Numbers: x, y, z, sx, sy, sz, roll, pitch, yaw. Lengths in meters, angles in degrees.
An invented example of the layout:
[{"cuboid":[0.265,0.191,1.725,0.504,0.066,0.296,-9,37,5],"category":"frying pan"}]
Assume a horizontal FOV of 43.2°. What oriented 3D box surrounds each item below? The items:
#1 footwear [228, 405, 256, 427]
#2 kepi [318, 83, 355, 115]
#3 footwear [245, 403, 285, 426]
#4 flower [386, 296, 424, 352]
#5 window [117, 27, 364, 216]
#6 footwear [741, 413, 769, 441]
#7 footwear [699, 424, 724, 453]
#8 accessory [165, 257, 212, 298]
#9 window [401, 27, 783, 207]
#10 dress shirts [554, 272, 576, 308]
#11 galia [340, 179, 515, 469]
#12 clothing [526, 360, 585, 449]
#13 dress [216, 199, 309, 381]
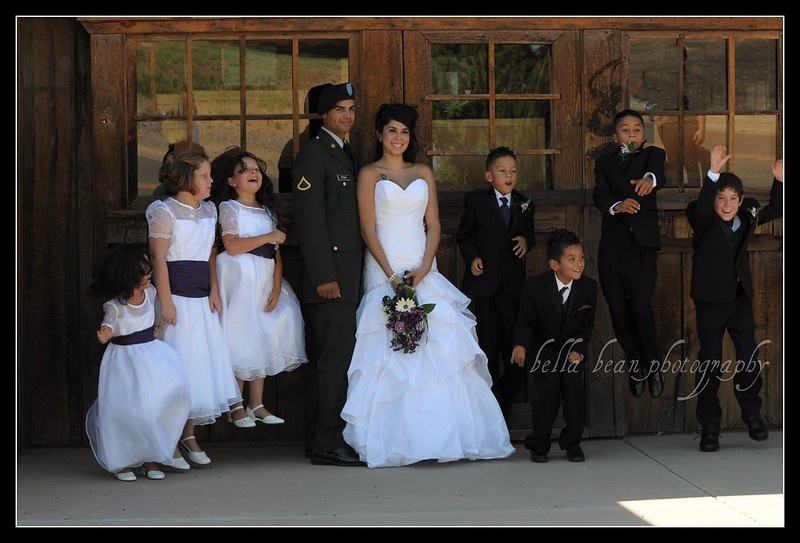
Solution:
[{"cuboid":[-1.071,0.985,6.819,0.099,0.106,0.266,-3,0,-32],"category":"footwear"},{"cuboid":[-0.454,-1.219,6.918,0.221,0.112,0.213,-22,3,26],"category":"kepi"},{"cuboid":[-0.939,0.986,6.896,0.337,0.131,0.114,0,1,30],"category":"footwear"},{"cuboid":[0.031,0.357,6.676,0.258,0.372,0.124,-1,12,-2],"category":"flower"},{"cuboid":[-1.192,-1.162,7.442,1.981,1.360,0.185,-9,17,-43],"category":"window"},{"cuboid":[2.414,1.068,6.875,0.092,0.095,0.252,-12,8,2],"category":"footwear"},{"cuboid":[2.126,1.149,6.910,0.175,0.174,0.151,-2,12,-6],"category":"footwear"},{"cuboid":[-1.395,0.037,6.761,0.310,0.221,0.176,0,-1,11],"category":"accessory"},{"cuboid":[1.459,-1.208,7.458,2.898,1.412,0.168,0,3,1],"category":"window"},{"cuboid":[1.098,0.100,6.689,0.119,0.205,0.050,-1,-5,-1],"category":"dress shirts"},{"cuboid":[0.126,0.335,6.722,1.062,1.862,0.740,-2,12,-4],"category":"galia"},{"cuboid":[1.028,0.935,6.704,0.375,0.549,0.192,0,12,7],"category":"clothing"},{"cuboid":[-0.947,0.129,6.834,0.647,1.192,0.404,-6,-3,-31],"category":"dress"}]
